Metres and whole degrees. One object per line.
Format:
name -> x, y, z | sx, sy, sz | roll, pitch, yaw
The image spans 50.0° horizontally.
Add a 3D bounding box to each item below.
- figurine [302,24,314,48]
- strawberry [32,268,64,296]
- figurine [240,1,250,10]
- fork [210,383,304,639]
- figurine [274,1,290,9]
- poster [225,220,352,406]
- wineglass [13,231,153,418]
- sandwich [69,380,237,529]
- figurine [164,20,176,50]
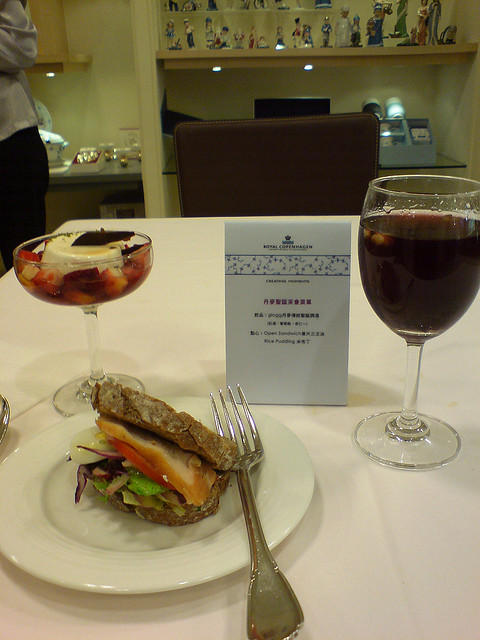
figurine -> 0.353, -1.496, 2.688 | 0.058, 0.101, 0.188 | 4, 24, 7
strawberry -> -0.184, -0.038, 0.491 | 0.025, 0.024, 0.009 | -5, 21, 16
figurine -> 0.022, -1.618, 2.636 | 0.043, 0.044, 0.059 | 3, 24, 6
fork -> 0.006, 0.109, 0.334 | 0.025, 0.020, 0.172 | -3, 34, -10
figurine -> 0.210, -1.623, 2.644 | 0.068, 0.039, 0.062 | -1, 24, -3
poster -> 0.047, -0.006, 0.518 | 0.136, 0.182, 0.009 | 1, 1, 19
wineglass -> -0.167, 0.006, 0.583 | 0.139, 0.190, 0.129 | 4, 26, 8
sandwich -> -0.055, 0.104, 0.378 | 0.132, 0.098, 0.061 | -1, 55, 23
figurine -> -0.365, -1.475, 2.658 | 0.045, 0.125, 0.063 | -3, 25, -7
